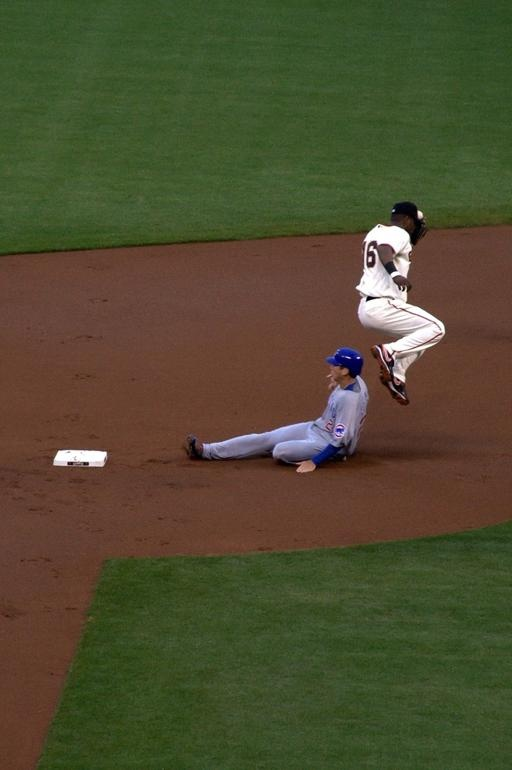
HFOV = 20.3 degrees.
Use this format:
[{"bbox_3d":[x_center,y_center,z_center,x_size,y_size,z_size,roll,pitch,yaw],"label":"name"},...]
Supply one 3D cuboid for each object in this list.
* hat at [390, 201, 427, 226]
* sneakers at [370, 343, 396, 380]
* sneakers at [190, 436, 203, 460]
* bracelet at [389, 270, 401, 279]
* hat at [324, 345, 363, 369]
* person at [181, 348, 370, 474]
[{"bbox_3d":[1.287,-1.370,11.519,0.199,0.112,0.263,15,-7,37],"label":"hat"},{"bbox_3d":[1.028,-0.177,11.363,0.184,0.289,0.259,4,8,5],"label":"sneakers"},{"bbox_3d":[-0.454,0.506,11.239,0.145,0.209,0.069,-1,21,-9],"label":"sneakers"},{"bbox_3d":[1.083,-0.844,10.919,0.064,0.044,0.071,-14,0,-21],"label":"bracelet"},{"bbox_3d":[0.686,-0.184,10.849,0.264,0.227,0.409,4,7,0],"label":"hat"},{"bbox_3d":[0.223,0.158,11.151,1.300,0.848,0.880,-1,18,-4],"label":"person"}]
